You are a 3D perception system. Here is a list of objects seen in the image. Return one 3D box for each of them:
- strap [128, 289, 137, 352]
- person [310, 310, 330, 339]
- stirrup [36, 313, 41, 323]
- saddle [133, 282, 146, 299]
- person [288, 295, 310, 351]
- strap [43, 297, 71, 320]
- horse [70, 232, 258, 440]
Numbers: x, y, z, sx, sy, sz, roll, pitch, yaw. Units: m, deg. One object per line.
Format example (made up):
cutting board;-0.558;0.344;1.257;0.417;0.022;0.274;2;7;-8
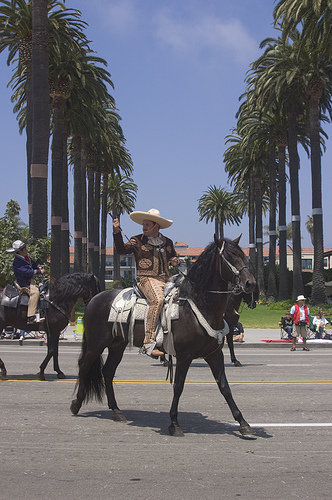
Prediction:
strap;-0.436;0.919;12.286;0.122;0.763;0.380;0;-3;-3
person;4.873;2.385;29.286;0.487;0.874;0.960;-1;-3;9
stirrup;-2.194;1.180;15.874;0.067;0.160;0.086;0;-3;-8
saddle;-0.348;0.548;12.393;0.053;0.189;0.106;-23;-3;-10
person;3.706;2.024;25.398;0.522;1.502;0.485;0;0;2
strap;-1.905;1.016;15.970;0.065;0.441;0.065;-42;2;43
horse;-0.072;1.180;12.208;3.061;2.493;0.861;-1;-2;37
